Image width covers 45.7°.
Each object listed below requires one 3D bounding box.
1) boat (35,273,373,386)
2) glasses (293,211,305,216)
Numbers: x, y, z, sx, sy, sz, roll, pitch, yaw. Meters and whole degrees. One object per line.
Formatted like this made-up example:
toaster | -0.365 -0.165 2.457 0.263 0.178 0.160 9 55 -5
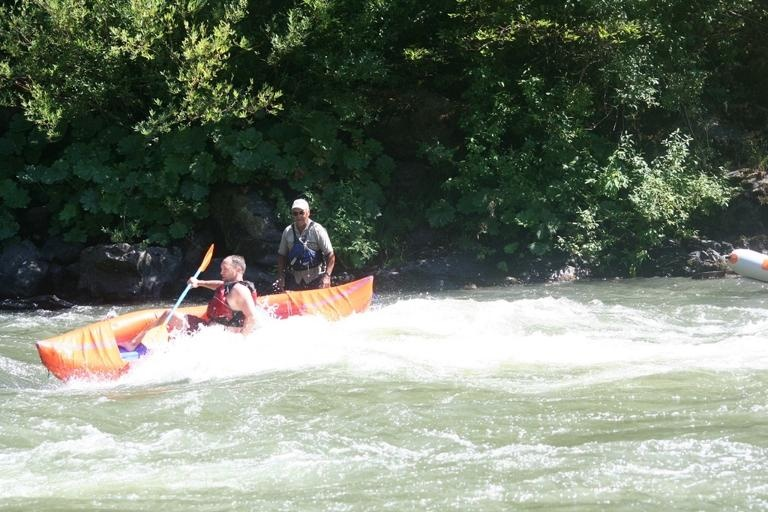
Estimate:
boat | -2.719 1.671 15.103 5.527 0.982 1.796 -13 17 -24
glasses | -1.483 -0.760 15.814 0.231 0.113 0.108 6 13 28
